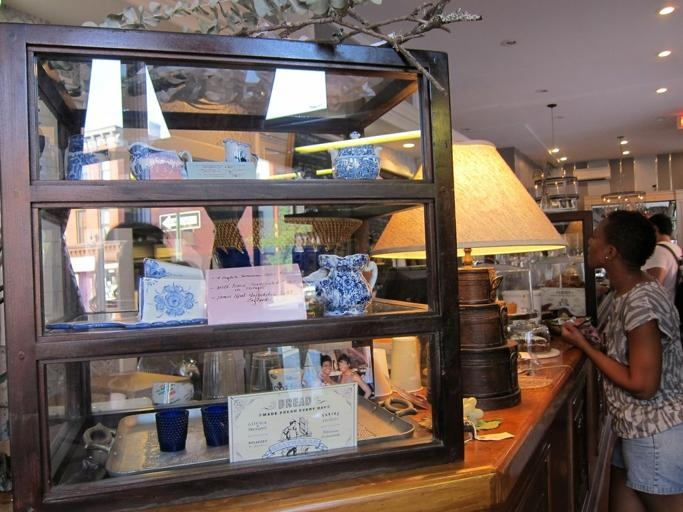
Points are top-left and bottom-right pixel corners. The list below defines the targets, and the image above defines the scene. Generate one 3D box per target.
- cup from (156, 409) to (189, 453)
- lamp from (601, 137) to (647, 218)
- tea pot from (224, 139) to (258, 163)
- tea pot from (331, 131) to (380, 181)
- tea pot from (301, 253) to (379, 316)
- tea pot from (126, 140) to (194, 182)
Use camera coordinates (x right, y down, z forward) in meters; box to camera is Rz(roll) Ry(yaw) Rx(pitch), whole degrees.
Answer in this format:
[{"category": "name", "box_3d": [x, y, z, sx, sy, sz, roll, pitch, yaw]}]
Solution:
[{"category": "cup", "box_3d": [-0.418, 0.432, 1.352, 0.102, 0.098, 0.096, 0, -7, 0]}, {"category": "lamp", "box_3d": [4.945, -1.354, 9.653, 0.727, 1.092, 1.980, -3, 1, 27]}, {"category": "tea pot", "box_3d": [-0.256, -0.261, 1.352, 0.087, 0.076, 0.052, -3, 6, -16]}, {"category": "tea pot", "box_3d": [0.015, -0.252, 1.367, 0.135, 0.105, 0.090, 1, -3, -10]}, {"category": "tea pot", "box_3d": [0.002, 0.071, 1.385, 0.199, 0.135, 0.121, 0, -7, 0]}, {"category": "tea pot", "box_3d": [-0.434, -0.226, 1.301, 0.128, 0.063, 0.086, 2, -1, -1]}]
